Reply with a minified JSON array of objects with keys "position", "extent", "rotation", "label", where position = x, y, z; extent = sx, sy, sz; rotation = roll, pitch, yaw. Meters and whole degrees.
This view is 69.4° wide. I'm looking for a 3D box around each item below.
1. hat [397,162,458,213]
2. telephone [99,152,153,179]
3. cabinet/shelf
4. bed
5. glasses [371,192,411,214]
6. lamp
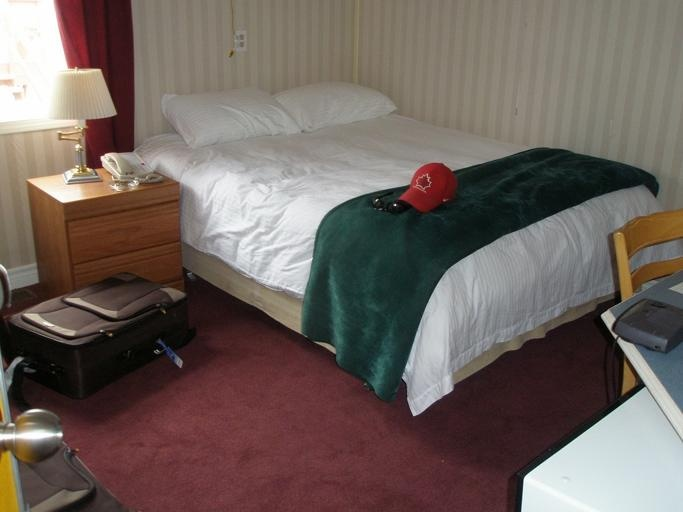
[{"position":[0.413,-0.343,2.400],"extent":[0.297,0.160,0.192],"rotation":[-28,51,-34],"label":"hat"},{"position":[-1.220,-0.567,2.793],"extent":[0.184,0.077,0.249],"rotation":[-19,44,-38],"label":"telephone"},{"position":[-1.260,-0.236,2.987],"extent":[0.899,0.896,0.651],"rotation":[-16,23,-42],"label":"cabinet/shelf"},{"position":[-0.003,-0.233,2.662],"extent":[1.737,0.533,1.962],"rotation":[-21,35,-37],"label":"bed"},{"position":[0.235,-0.248,2.368],"extent":[0.121,0.038,0.114],"rotation":[-14,30,-29],"label":"glasses"},{"position":[-1.493,-0.775,2.870],"extent":[0.333,0.586,0.470],"rotation":[-15,30,-27],"label":"lamp"}]
